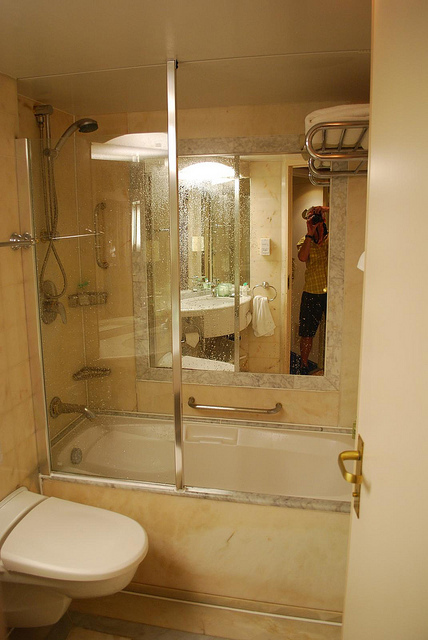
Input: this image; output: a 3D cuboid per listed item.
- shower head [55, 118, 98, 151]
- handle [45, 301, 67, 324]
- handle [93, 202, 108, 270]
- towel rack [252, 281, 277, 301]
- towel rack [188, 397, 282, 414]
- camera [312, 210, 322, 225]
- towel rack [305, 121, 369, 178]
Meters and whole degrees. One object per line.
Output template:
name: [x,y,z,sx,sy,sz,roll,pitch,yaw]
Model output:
shower head: [-0.482,-0.658,1.847,0.134,0.200,0.073,6,11,-2]
handle: [-0.612,-0.029,2.017,0.093,0.026,0.060,20,23,4]
handle: [-0.410,-0.300,1.867,0.053,0.238,0.033,-4,-1,27]
towel rack: [0.239,-0.138,2.397,0.087,0.076,0.010,2,13,15]
towel rack: [0.095,0.430,2.532,0.466,0.079,0.056,4,12,11]
camera: [0.461,-0.461,2.297,0.041,0.060,0.021,1,10,21]
towel rack: [0.479,-0.608,1.914,0.263,0.098,0.381,-1,1,11]
